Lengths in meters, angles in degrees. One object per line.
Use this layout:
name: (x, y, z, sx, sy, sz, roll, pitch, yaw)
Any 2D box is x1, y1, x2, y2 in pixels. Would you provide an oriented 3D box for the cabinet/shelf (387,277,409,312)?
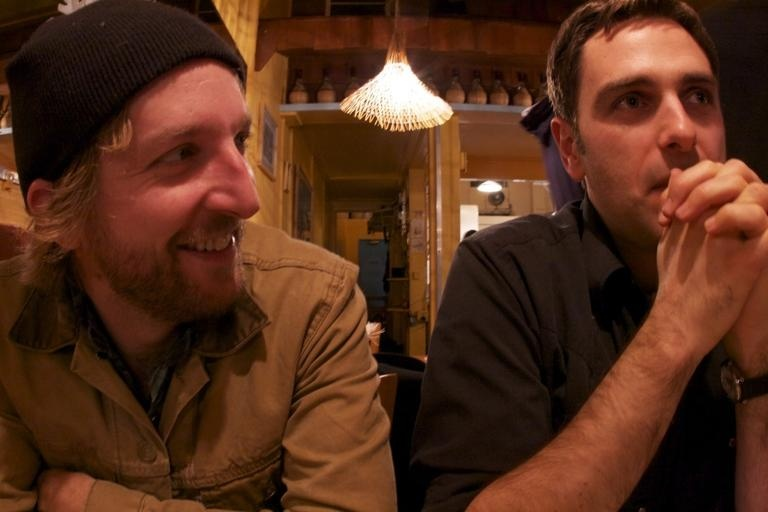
cabinet/shelf: (0.164, 0.461, 8.844, 0.386, 0.520, 0.540, 1, -3, -3)
